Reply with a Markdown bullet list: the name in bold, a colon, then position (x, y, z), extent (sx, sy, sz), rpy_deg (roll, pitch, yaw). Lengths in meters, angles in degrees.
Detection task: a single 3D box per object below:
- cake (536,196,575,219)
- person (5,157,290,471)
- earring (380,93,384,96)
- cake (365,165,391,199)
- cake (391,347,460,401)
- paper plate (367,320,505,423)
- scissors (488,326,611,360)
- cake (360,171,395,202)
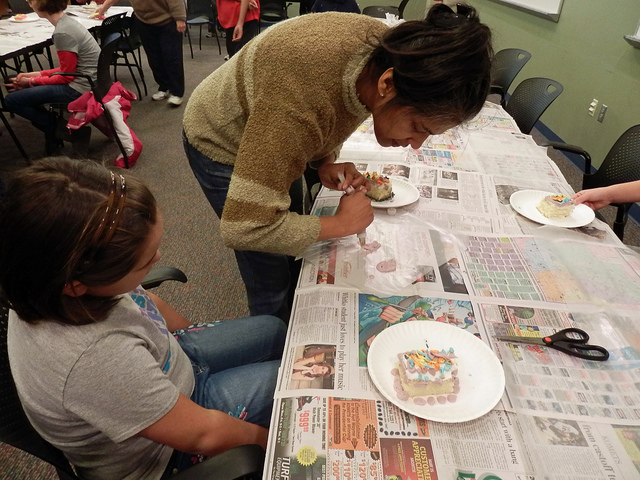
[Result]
- **cake**: position (0.918, -0.127, 1.680), extent (0.116, 0.058, 0.088), rpy_deg (-11, 39, -30)
- **person**: position (-0.419, 0.243, 1.095), extent (0.607, 0.822, 0.487), rpy_deg (-7, 46, -7)
- **earring**: position (0.163, -0.379, 1.125), extent (0.006, 0.002, 0.008), rpy_deg (-6, 43, 3)
- **cake**: position (0.228, -0.236, 1.772), extent (0.137, 0.066, 0.185), rpy_deg (0, 29, -13)
- **cake**: position (0.282, 0.340, 1.129), extent (0.152, 0.071, 0.127), rpy_deg (-5, 17, -13)
- **paper plate**: position (0.267, 0.320, 1.221), extent (0.438, 0.179, 0.334), rpy_deg (9, 24, -1)
- **scissors**: position (0.677, 0.290, 1.196), extent (0.223, 0.015, 0.119), rpy_deg (1, 26, -2)
- **cake**: position (0.237, -0.223, 1.756), extent (0.137, 0.076, 0.144), rpy_deg (-12, 33, -17)
